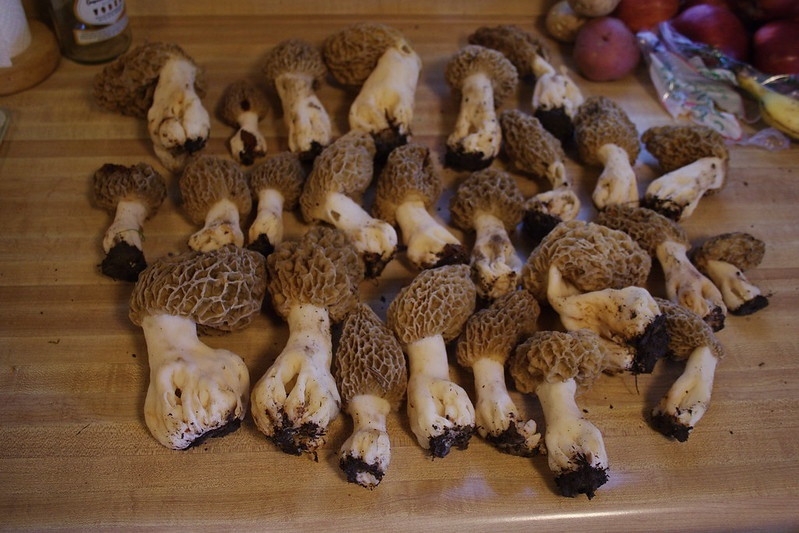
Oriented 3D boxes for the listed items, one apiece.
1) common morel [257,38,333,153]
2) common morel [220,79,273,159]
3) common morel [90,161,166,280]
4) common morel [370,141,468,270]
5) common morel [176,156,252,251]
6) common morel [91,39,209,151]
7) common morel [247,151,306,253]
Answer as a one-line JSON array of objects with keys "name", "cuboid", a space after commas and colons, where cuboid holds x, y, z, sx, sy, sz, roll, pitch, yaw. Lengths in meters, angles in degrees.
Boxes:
[{"name": "common morel", "cuboid": [-0.504, -0.847, 4.286, 0.308, 0.282, 0.603, -6, 68, -15]}, {"name": "common morel", "cuboid": [-0.770, -0.729, 4.277, 0.244, 0.214, 0.469, -4, 59, -15]}, {"name": "common morel", "cuboid": [-1.236, -0.195, 3.873, 0.271, 0.300, 0.479, 4, 54, -10]}, {"name": "common morel", "cuboid": [0.080, -0.272, 3.983, 0.290, 0.288, 0.607, -16, 68, -3]}, {"name": "common morel", "cuboid": [-0.848, -0.318, 3.964, 0.309, 0.285, 0.432, -10, 65, 2]}, {"name": "common morel", "cuboid": [-1.241, -0.905, 4.232, 0.531, 0.332, 0.281, -1, 62, -14]}, {"name": "common morel", "cuboid": [-0.577, -0.295, 3.988, 0.232, 0.247, 0.489, 13, 54, -8]}]
